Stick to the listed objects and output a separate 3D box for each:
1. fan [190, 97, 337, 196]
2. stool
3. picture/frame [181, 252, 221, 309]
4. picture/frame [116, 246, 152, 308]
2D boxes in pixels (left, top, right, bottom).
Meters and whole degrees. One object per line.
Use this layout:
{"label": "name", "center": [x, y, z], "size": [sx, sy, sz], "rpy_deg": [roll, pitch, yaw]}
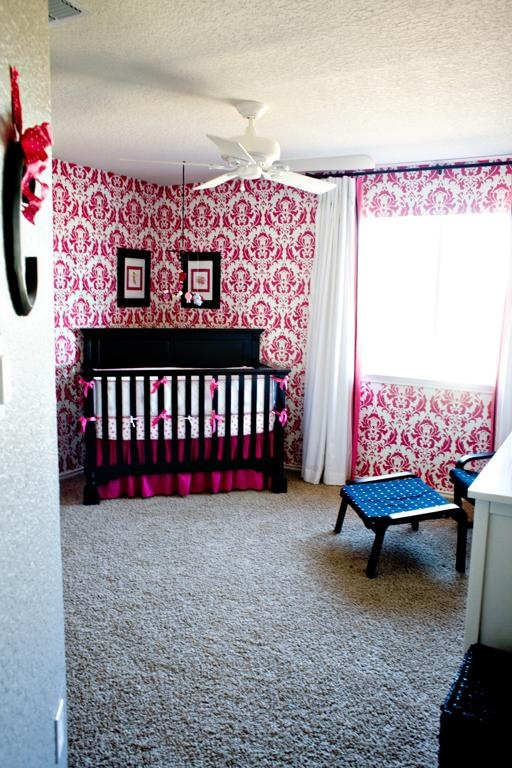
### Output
{"label": "fan", "center": [0.039, -0.976, 2.460], "size": [0.579, 0.279, 0.589], "rpy_deg": [0, 1, -2]}
{"label": "stool", "center": [0.740, 0.736, 3.027], "size": [0.517, 0.333, 0.549], "rpy_deg": [-2, 10, -11]}
{"label": "picture/frame", "center": [-0.433, -0.850, 4.677], "size": [0.433, 0.589, 0.040], "rpy_deg": [3, 7, 18]}
{"label": "picture/frame", "center": [-1.012, -0.876, 4.693], "size": [0.044, 0.652, 0.486], "rpy_deg": [5, 7, 35]}
